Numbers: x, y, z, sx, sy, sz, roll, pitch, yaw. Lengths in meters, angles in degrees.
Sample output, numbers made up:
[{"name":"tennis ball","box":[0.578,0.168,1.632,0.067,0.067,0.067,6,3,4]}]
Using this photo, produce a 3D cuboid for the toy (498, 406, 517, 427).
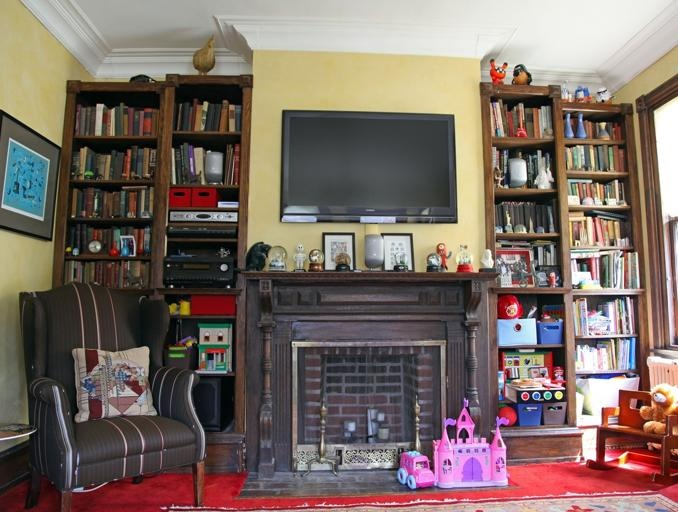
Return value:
[{"name":"toy","box":[1.379,1.323,4.763,0.155,0.193,0.156,10,-18,-16]}]

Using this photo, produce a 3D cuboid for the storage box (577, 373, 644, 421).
[{"name":"storage box","box":[2.346,1.216,5.048,0.423,0.306,0.327,1,-5,-2]}]

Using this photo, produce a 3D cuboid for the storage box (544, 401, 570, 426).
[{"name":"storage box","box":[1.787,1.309,4.771,0.176,0.147,0.187,2,-3,2]}]

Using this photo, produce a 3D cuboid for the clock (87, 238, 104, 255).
[{"name":"clock","box":[-2.084,-0.081,4.970,0.123,0.134,0.029,7,1,-9]}]

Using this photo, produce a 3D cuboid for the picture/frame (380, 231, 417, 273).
[{"name":"picture/frame","box":[0.488,-0.022,4.844,0.306,0.403,0.029,1,-25,-7]}]

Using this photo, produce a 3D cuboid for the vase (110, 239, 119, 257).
[{"name":"vase","box":[-1.898,-0.065,4.940,0.074,0.126,0.141,-3,8,-22]}]

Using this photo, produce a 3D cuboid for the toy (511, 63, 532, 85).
[{"name":"toy","box":[1.627,-1.624,5.202,0.151,0.220,0.208,1,21,21]}]

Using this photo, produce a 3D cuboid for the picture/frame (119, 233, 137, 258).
[{"name":"picture/frame","box":[-1.792,-0.090,4.965,0.150,0.231,0.174,0,-13,-11]}]

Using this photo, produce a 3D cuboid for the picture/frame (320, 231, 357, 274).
[{"name":"picture/frame","box":[-0.015,-0.019,4.803,0.319,0.423,0.019,1,-23,-8]}]

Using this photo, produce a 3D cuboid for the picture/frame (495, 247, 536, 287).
[{"name":"picture/frame","box":[1.512,0.110,5.033,0.316,0.365,0.035,0,-15,-11]}]

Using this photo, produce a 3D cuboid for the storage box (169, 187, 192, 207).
[{"name":"storage box","box":[-1.325,-0.490,4.874,0.158,0.165,0.155,0,2,0]}]

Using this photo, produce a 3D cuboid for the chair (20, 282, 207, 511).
[{"name":"chair","box":[-1.638,0.991,4.152,1.113,1.470,0.996,-4,9,-31]}]

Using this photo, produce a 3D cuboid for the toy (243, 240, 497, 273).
[{"name":"toy","box":[0.090,0.007,4.763,1.692,0.243,0.265,-1,8,-5]}]

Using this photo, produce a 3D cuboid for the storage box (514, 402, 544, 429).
[{"name":"storage box","box":[1.571,1.322,4.803,0.147,0.153,0.228,0,-8,0]}]

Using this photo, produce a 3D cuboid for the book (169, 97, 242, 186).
[{"name":"book","box":[-1.098,-0.978,5.251,0.674,1.008,0.678,1,-2,-3]}]

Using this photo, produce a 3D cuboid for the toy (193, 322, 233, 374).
[{"name":"toy","box":[-1.003,0.755,4.740,0.312,0.458,0.351,0,-6,-4]}]

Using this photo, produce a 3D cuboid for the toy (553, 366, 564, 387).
[{"name":"toy","box":[1.857,1.031,4.919,0.093,0.142,0.152,3,8,20]}]

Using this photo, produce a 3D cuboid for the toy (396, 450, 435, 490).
[{"name":"toy","box":[0.574,1.627,4.374,0.180,0.193,0.263,4,-11,-23]}]

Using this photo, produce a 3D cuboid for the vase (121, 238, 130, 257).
[{"name":"vase","box":[-1.811,-0.079,4.939,0.069,0.156,0.123,-2,8,-18]}]
